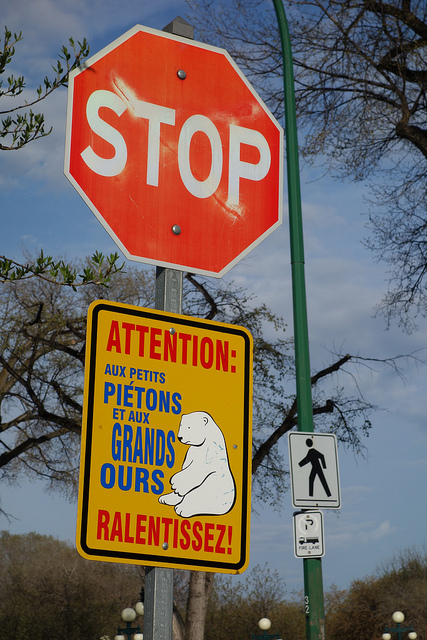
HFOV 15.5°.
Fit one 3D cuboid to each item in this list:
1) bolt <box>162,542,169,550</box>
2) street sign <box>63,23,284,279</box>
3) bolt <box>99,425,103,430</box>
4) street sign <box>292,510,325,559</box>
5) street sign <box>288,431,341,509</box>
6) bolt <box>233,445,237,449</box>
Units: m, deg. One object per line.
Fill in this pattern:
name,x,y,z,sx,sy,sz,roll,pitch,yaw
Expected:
bolt,-0.469,2.147,14.963,0.054,0.064,0.012,1,-8,-3
street sign,-0.371,-1.636,15.455,2.253,2.933,0.082,10,-35,-11
bolt,-1.091,1.016,14.929,0.029,0.040,0.008,-5,-2,-1
street sign,1.138,2.545,18.732,0.350,0.562,0.375,-1,-9,8
street sign,1.201,1.788,18.749,0.590,0.891,0.242,0,-8,3
bolt,0.198,1.213,15.092,0.028,0.046,0.005,0,-16,-6
